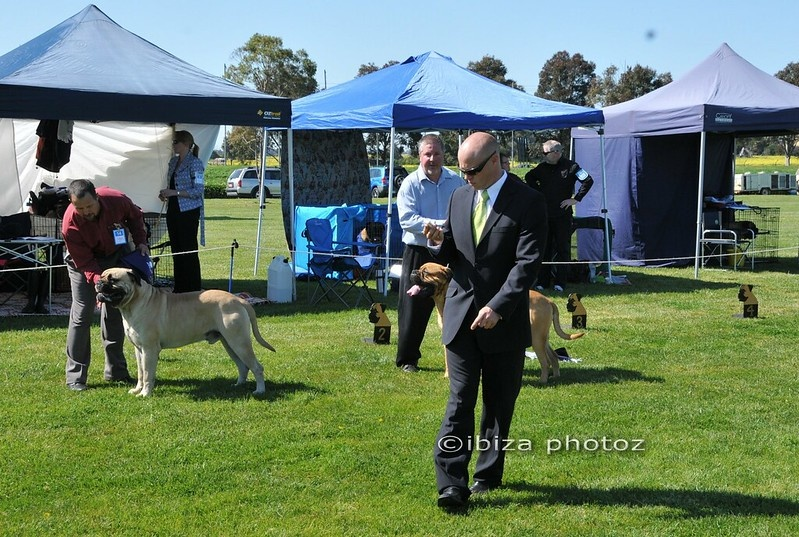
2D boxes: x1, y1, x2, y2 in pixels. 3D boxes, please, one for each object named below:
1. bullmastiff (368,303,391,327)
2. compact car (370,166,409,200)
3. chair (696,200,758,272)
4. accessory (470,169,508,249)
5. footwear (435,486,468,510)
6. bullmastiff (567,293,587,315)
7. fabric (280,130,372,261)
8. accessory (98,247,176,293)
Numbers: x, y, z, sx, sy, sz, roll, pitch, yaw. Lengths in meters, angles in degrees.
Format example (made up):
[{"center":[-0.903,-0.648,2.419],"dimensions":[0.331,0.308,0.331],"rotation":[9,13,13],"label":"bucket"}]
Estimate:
[{"center":[-0.273,0.688,14.215],"dimensions":[0.289,0.303,0.151],"rotation":[2,-11,-23],"label":"bullmastiff"},{"center":[-0.591,-3.692,42.906],"dimensions":[1.424,1.499,3.131],"rotation":[-3,10,-20],"label":"compact car"},{"center":[6.589,-0.698,20.314],"dimensions":[1.010,1.431,2.008],"rotation":[1,3,27],"label":"chair"},{"center":[0.832,-0.572,9.692],"dimensions":[0.148,0.666,0.356],"rotation":[13,-1,-37],"label":"accessory"},{"center":[0.517,2.238,9.700],"dimensions":[0.155,0.160,0.350],"rotation":[-1,-5,32],"label":"footwear"},{"center":[2.576,0.554,14.719],"dimensions":[0.307,0.343,0.249],"rotation":[5,-2,-4],"label":"bullmastiff"},{"center":[-1.380,-1.369,18.771],"dimensions":[2.154,3.082,0.165],"rotation":[-4,6,-22],"label":"fabric"},{"center":[-3.296,0.050,12.653],"dimensions":[0.528,0.232,0.544],"rotation":[17,0,9],"label":"accessory"}]
